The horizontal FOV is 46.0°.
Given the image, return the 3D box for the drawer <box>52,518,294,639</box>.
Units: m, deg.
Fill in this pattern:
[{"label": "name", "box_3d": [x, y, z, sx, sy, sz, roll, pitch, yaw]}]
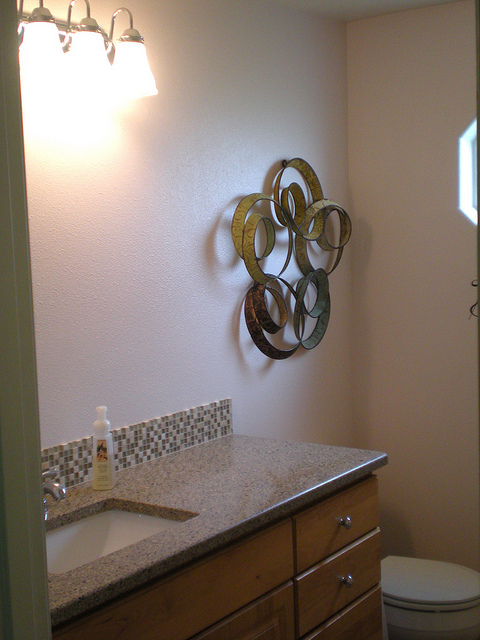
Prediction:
[{"label": "drawer", "box_3d": [-0.147, 0.506, 1.159, 0.319, 0.144, 0.410, -1, 1, 43]}]
